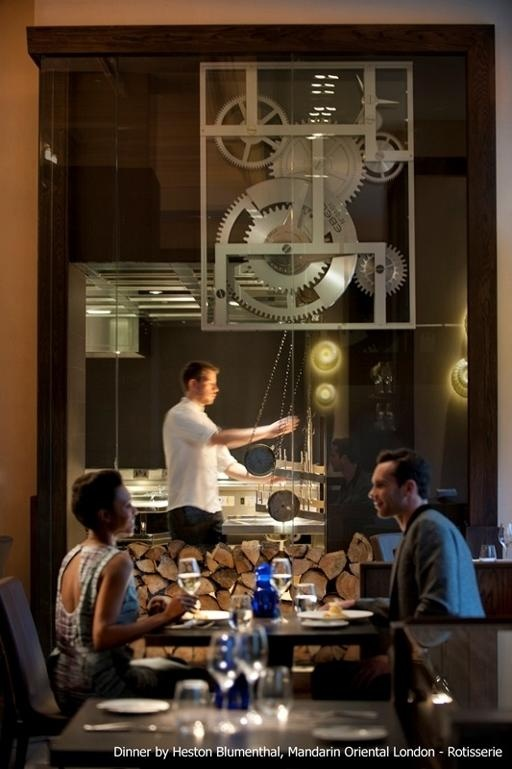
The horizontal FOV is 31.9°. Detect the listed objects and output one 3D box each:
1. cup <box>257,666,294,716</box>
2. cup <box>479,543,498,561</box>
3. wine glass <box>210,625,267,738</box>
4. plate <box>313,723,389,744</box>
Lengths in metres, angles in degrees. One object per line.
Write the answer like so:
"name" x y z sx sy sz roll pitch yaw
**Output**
"cup" 0.034 0.569 1.631 0.054 0.125 0.115 -1 4 3
"cup" 0.978 0.706 3.802 0.084 0.084 0.086 0 1 0
"wine glass" -0.037 0.555 1.748 0.106 0.202 0.209 -1 4 -2
"plate" 0.174 0.652 1.678 0.141 0.017 0.099 -1 4 3
